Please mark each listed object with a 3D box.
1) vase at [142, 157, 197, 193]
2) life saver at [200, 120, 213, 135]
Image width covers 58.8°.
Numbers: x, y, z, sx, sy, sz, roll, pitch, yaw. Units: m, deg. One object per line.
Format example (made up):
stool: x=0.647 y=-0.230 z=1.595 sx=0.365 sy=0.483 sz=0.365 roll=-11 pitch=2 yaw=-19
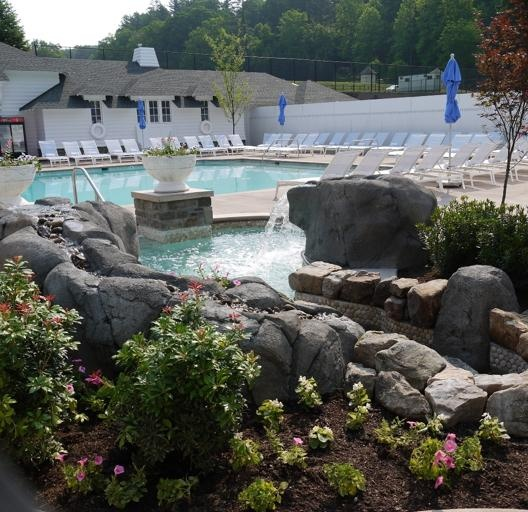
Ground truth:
vase: x=-1.790 y=-1.585 z=9.110 sx=0.896 sy=0.495 sz=0.807 roll=-2 pitch=7 yaw=-3
life saver: x=-3.841 y=-8.545 z=31.212 sx=0.393 sy=0.907 sz=0.918 roll=11 pitch=19 yaw=35
